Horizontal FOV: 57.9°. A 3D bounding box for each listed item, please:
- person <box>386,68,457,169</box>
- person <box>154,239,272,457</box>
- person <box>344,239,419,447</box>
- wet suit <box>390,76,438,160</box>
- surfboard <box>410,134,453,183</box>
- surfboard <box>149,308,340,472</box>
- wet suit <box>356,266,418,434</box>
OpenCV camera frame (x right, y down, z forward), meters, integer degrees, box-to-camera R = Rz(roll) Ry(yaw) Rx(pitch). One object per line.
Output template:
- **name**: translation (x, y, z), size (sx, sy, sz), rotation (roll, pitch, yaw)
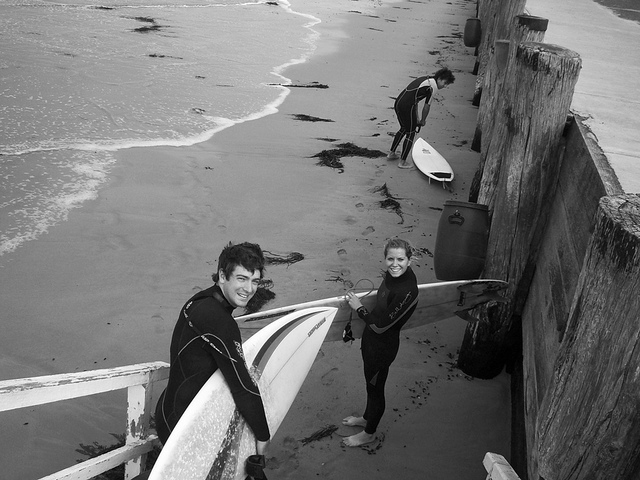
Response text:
- **person**: translation (1.732, -2.150, 10.337), size (0.850, 1.798, 0.538), rotation (10, 23, 9)
- **person**: translation (-0.757, 0.799, 4.052), size (0.770, 1.411, 0.622), rotation (-1, 24, -17)
- **person**: translation (0.553, 0.880, 5.408), size (0.555, 1.935, 0.896), rotation (7, 23, 2)
- **wet suit**: translation (1.667, -2.170, 10.376), size (0.700, 1.542, 0.587), rotation (8, 23, 5)
- **surfboard**: translation (2.037, -1.450, 10.595), size (0.257, 0.818, 0.812), rotation (-34, 9, 5)
- **surfboard**: translation (-0.518, 1.034, 4.794), size (0.218, 0.620, 2.500), rotation (-5, 24, 34)
- **wet suit**: translation (0.535, 1.007, 5.297), size (0.471, 1.627, 0.461), rotation (17, 25, 24)
